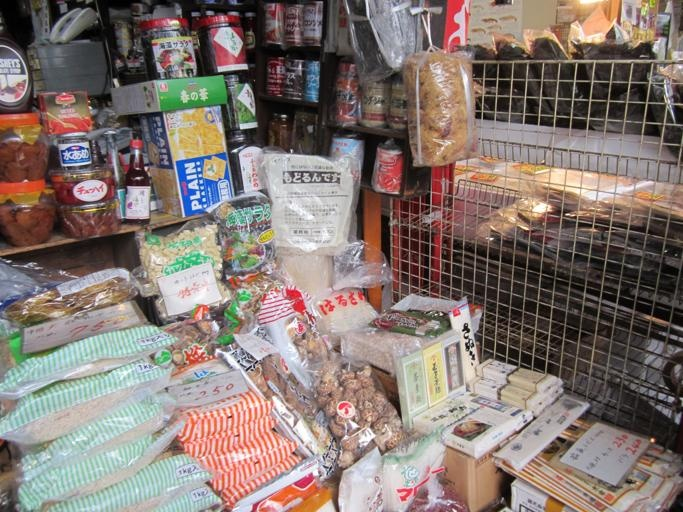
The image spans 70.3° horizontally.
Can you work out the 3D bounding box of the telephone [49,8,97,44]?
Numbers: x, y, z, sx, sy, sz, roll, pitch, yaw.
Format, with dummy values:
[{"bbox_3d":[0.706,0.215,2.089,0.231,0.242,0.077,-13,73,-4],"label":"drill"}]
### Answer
[{"bbox_3d":[-1.297,-1.118,2.392,0.214,0.083,0.212,-41,47,-5],"label":"telephone"}]
